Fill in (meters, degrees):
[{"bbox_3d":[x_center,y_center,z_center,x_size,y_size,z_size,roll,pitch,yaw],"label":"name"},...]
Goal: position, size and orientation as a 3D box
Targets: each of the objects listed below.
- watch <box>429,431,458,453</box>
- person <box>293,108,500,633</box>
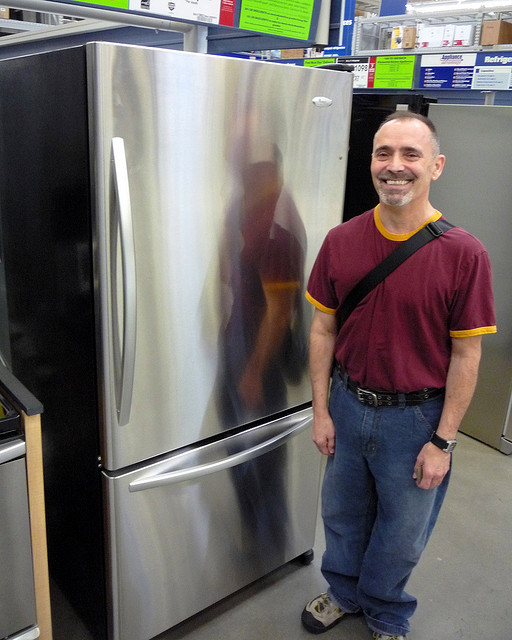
[{"bbox_3d":[0.462,0.302,1.325,0.060,0.055,0.058,8,15,16],"label":"watch"},{"bbox_3d":[0.361,0.265,1.476,0.278,1.565,0.494,-7,17,-38],"label":"person"}]
